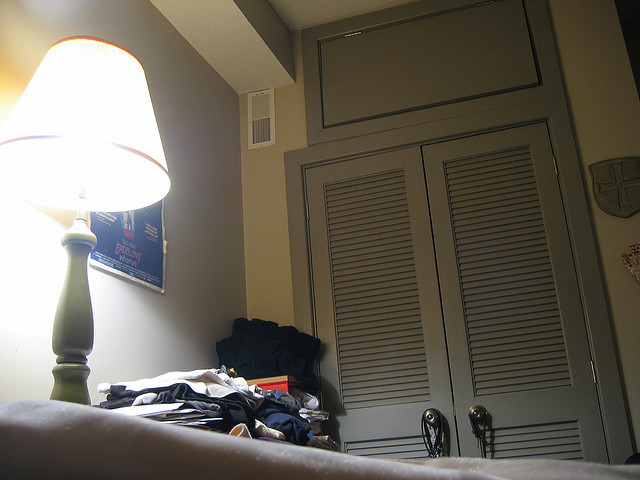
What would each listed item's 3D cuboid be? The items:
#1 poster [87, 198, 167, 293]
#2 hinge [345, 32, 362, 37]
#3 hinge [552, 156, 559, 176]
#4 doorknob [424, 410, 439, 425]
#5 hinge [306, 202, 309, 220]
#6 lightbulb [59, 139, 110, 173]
[{"bbox_3d":[-0.732,-0.015,2.175,0.067,0.405,0.453,0,-12,18],"label":"poster"},{"bbox_3d":[0.194,-1.162,3.127,0.095,0.019,0.005,0,-12,17],"label":"hinge"},{"bbox_3d":[1.158,-0.361,2.698,0.024,0.094,0.005,-1,-12,23],"label":"hinge"},{"bbox_3d":[0.511,0.813,2.523,0.076,0.078,0.044,-13,-30,19],"label":"doorknob"},{"bbox_3d":[-0.065,-0.155,2.991,0.021,0.088,0.003,0,-12,20],"label":"hinge"},{"bbox_3d":[-0.701,-0.238,1.653,0.132,0.100,0.153,0,0,-9],"label":"lightbulb"}]
